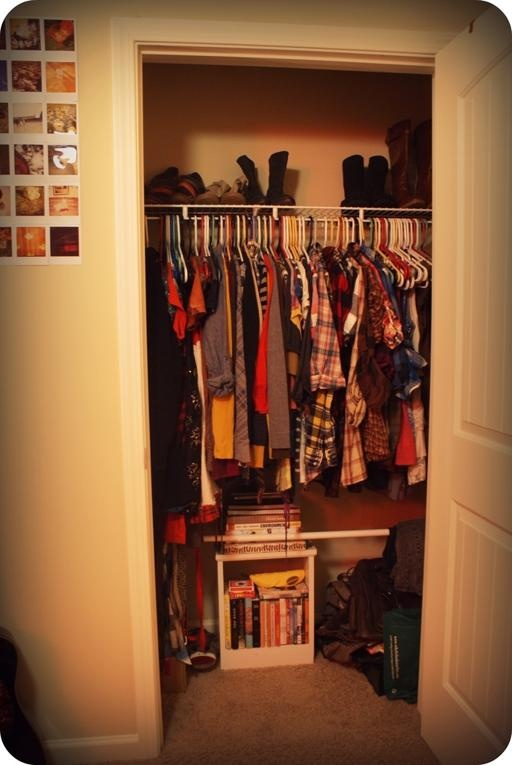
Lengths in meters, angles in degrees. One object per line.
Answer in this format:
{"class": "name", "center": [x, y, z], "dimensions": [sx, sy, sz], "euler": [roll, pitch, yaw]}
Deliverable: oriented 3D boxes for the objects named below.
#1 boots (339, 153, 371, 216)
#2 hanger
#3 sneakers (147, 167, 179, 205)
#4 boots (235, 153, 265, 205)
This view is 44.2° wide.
{"class": "boots", "center": [0.370, -0.733, 2.352], "dimensions": [0.110, 0.236, 0.233], "euler": [-1, 1, 6]}
{"class": "hanger", "center": [0.143, -0.489, 2.263], "dimensions": [1.051, 0.320, 0.506], "euler": [-1, 6, -12]}
{"class": "sneakers", "center": [-0.325, -0.682, 2.159], "dimensions": [0.077, 0.087, 0.221], "euler": [9, 32, 2]}
{"class": "boots", "center": [-0.032, -0.774, 2.349], "dimensions": [0.068, 0.143, 0.197], "euler": [-24, 30, -5]}
